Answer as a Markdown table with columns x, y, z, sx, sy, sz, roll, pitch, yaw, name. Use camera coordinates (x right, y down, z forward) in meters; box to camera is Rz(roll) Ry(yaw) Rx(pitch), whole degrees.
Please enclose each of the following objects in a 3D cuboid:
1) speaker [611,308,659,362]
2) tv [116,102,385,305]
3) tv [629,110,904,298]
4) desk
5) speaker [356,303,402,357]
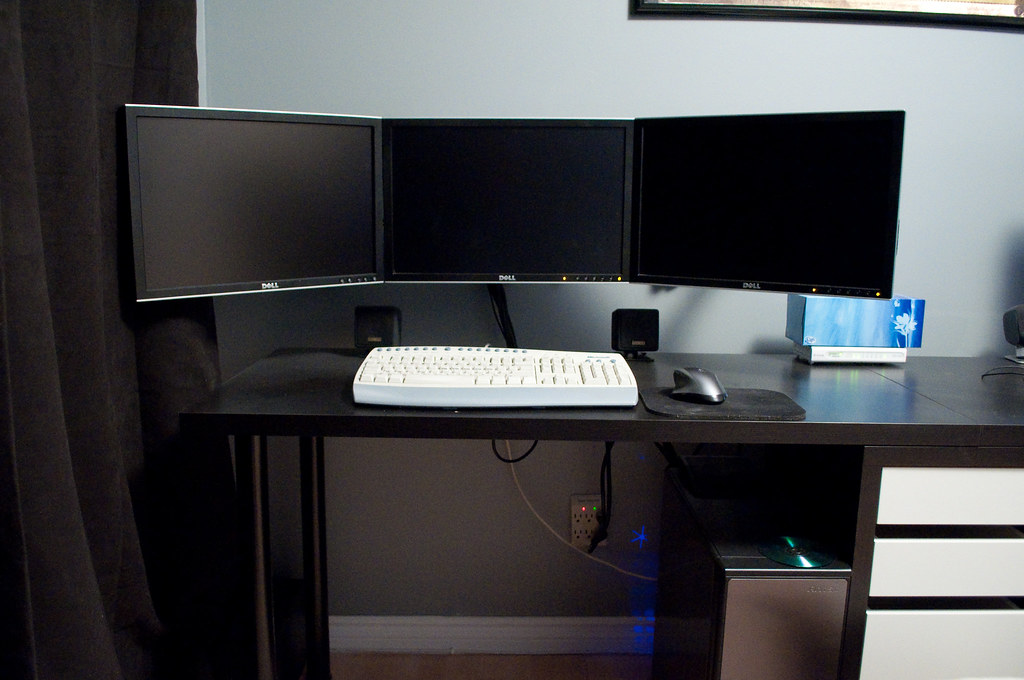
| x | y | z | sx | sy | sz | roll | pitch | yaw | name |
| --- | --- | --- | --- | --- | --- | --- | --- | --- | --- |
| 0.338 | -0.024 | 2.441 | 0.145 | 0.157 | 0.131 | 1 | 14 | 3 | speaker |
| -0.663 | -0.345 | 2.123 | 0.524 | 0.377 | 0.046 | -4 | 10 | -26 | tv |
| 0.640 | -0.350 | 2.147 | 0.479 | 0.348 | 0.042 | 4 | 9 | 18 | tv |
| 0.276 | 0.447 | 2.237 | 2.039 | 0.750 | 0.507 | 2 | 10 | 0 | desk |
| -0.372 | -0.025 | 2.356 | 0.132 | 0.131 | 0.068 | 2 | 6 | 6 | speaker |
